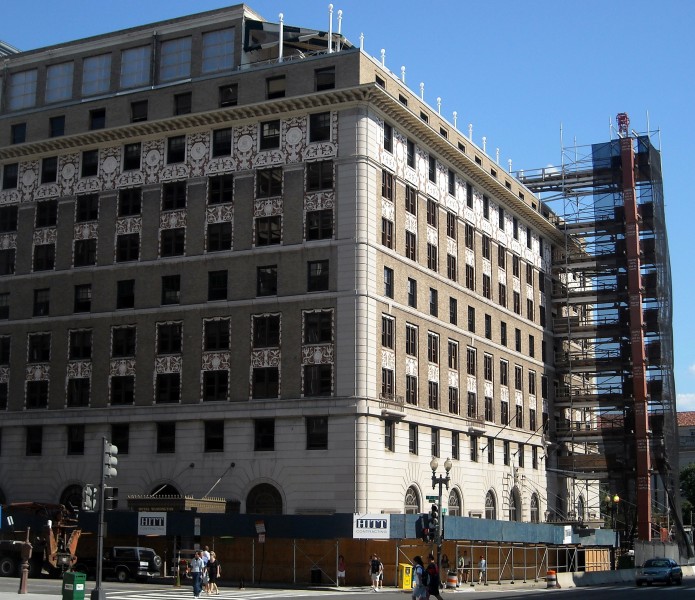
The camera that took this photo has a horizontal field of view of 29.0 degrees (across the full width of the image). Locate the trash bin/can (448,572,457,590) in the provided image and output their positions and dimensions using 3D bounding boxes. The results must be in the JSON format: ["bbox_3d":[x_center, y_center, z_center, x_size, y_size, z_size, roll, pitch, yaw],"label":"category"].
[{"bbox_3d":[6.873,18.495,88.806,0.751,1.334,0.819,-1,-10,5],"label":"trash bin/can"}]

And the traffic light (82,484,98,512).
[{"bbox_3d":[-12.665,9.645,66.440,0.699,1.421,1.662,2,-18,-9],"label":"traffic light"}]

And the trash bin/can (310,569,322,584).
[{"bbox_3d":[-1.972,17.913,87.156,0.739,1.422,0.769,-1,-20,5],"label":"trash bin/can"}]

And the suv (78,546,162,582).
[{"bbox_3d":[-13.848,16.942,86.269,3.453,2.285,1.855,2,-18,-11],"label":"suv"}]

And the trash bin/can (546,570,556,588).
[{"bbox_3d":[13.800,18.818,90.741,0.698,1.228,1.796,-4,-18,8],"label":"trash bin/can"}]
